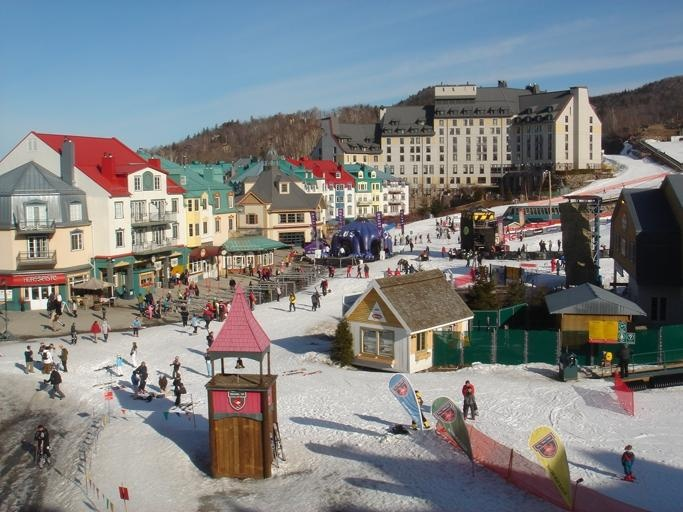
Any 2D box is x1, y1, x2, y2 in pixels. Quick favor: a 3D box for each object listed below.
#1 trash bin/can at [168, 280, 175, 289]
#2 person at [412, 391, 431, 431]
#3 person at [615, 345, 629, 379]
[{"bbox_3d":[-16.384,2.811,72.159,0.636,0.691,0.523,-1,3,-4],"label":"trash bin/can"},{"bbox_3d":[4.148,8.016,39.343,0.970,1.665,0.428,-9,3,2],"label":"person"},{"bbox_3d":[16.302,6.152,43.663,0.633,1.689,1.441,3,15,21],"label":"person"}]
